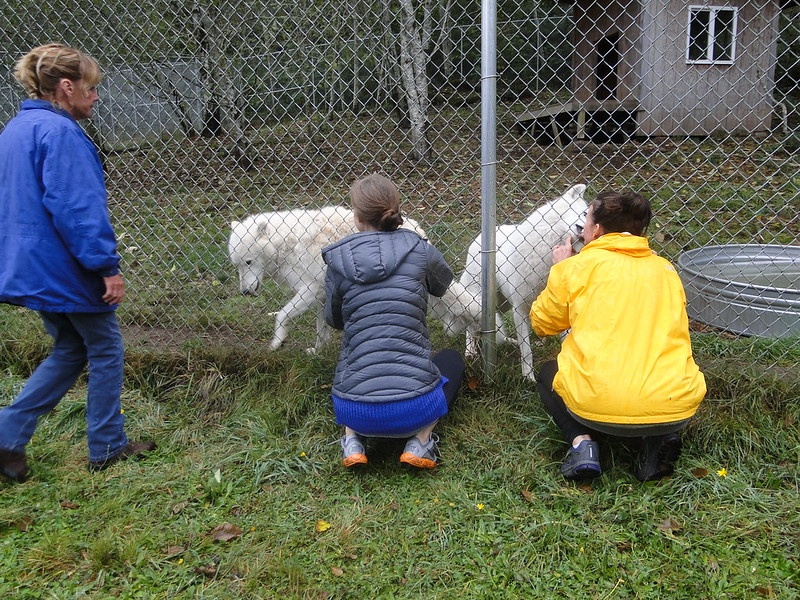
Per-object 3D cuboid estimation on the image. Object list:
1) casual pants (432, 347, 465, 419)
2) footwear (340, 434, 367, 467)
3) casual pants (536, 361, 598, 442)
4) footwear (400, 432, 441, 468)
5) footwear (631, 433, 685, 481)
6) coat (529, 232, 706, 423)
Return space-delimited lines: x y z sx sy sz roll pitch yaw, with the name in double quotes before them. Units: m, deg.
"casual pants" 0.388 0.559 5.025 0.214 0.056 0.416 -5 51 16
"footwear" -0.291 0.957 4.528 0.104 0.118 0.264 -4 2 -7
"casual pants" 0.983 0.680 4.649 0.154 0.501 0.331 -38 -18 15
"footwear" 0.157 0.981 4.669 0.131 0.141 0.326 5 2 27
"footwear" 1.580 0.956 4.413 0.164 0.419 0.194 10 17 3
"coat" 1.339 0.169 4.323 0.974 1.040 0.521 2 18 9
